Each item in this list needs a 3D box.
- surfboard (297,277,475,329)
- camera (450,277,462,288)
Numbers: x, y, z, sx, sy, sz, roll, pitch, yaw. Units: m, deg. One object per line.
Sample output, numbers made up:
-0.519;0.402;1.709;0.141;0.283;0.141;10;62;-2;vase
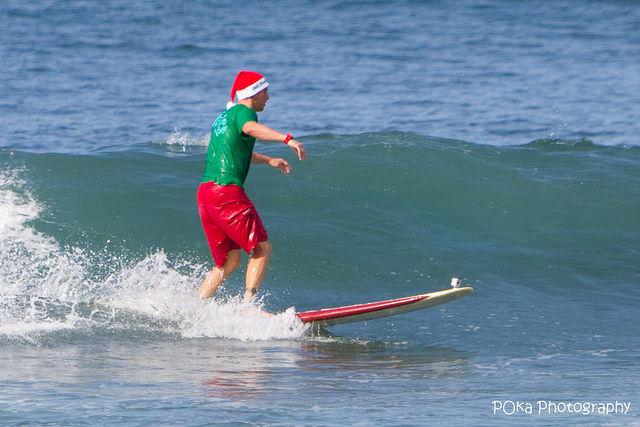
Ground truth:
1.364;2.010;27.775;5.676;0.438;0.475;-6;32;-1;surfboard
2.834;1.459;26.804;0.270;0.202;0.215;1;-1;12;camera
